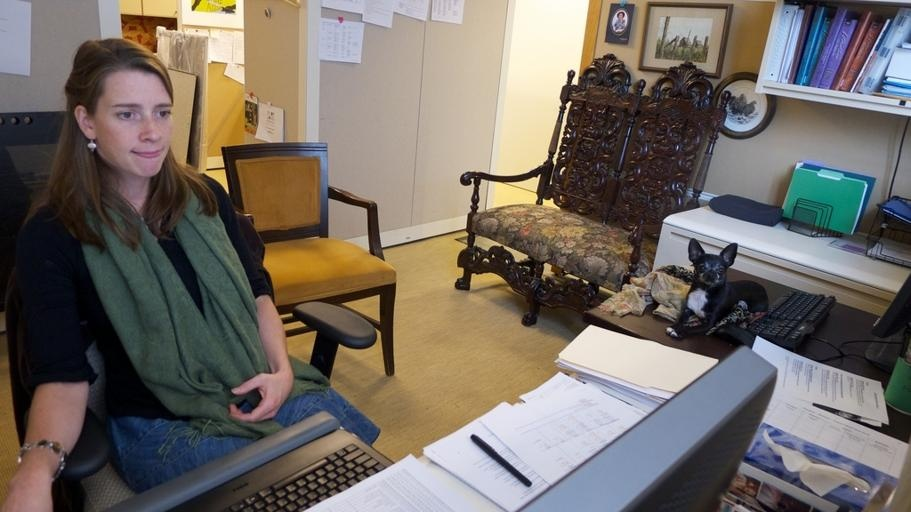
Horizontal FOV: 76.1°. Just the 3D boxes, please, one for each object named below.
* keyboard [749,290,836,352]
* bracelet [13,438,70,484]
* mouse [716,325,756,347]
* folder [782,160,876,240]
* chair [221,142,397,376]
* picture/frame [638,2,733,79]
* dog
[{"bbox_3d":[1.540,0.276,2.663,0.474,0.078,0.225,-25,30,-33],"label":"keyboard"},{"bbox_3d":[-1.431,0.691,1.986,0.161,0.055,0.132,-12,53,-30],"label":"bracelet"},{"bbox_3d":[1.199,0.342,2.482,0.097,0.033,0.095,-13,28,-28],"label":"mouse"},{"bbox_3d":[2.358,-0.338,3.631,0.417,0.386,0.156,22,18,23],"label":"folder"},{"bbox_3d":[-0.866,0.007,3.393,0.856,1.236,0.941,-6,18,-25],"label":"chair"},{"bbox_3d":[1.627,-1.504,4.038,0.580,0.438,0.056,20,29,33],"label":"picture/frame"},{"bbox_3d":[1.259,0.143,2.782,0.373,0.400,0.734,14,19,41],"label":"dog"}]
